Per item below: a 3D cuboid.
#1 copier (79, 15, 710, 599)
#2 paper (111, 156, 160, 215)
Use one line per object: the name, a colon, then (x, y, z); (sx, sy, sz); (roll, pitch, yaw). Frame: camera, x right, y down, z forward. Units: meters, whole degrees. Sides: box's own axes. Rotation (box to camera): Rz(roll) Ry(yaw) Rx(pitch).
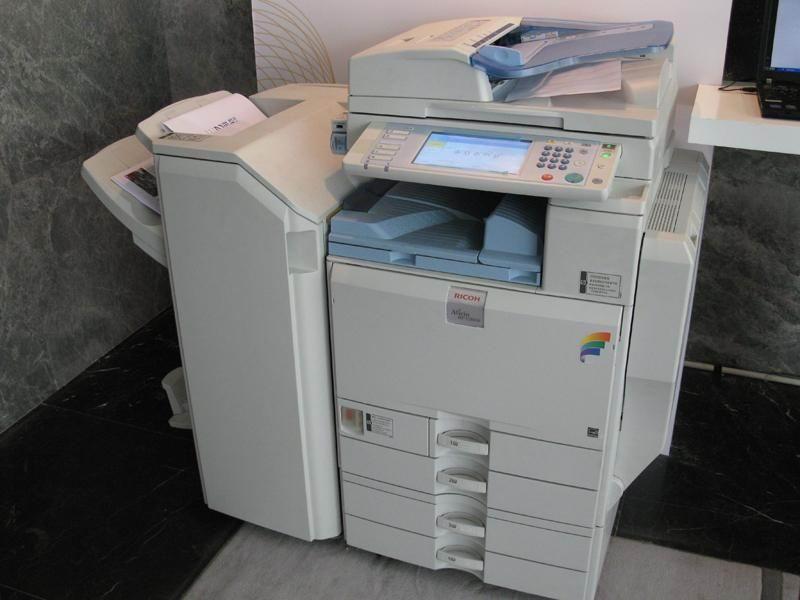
copier: (0.043, 0.079, 1.953); (1.761, 1.530, 0.922); (10, 34, 19)
paper: (-0.745, -0.328, 1.963); (0.155, 0.035, 0.142); (36, 40, 15)
